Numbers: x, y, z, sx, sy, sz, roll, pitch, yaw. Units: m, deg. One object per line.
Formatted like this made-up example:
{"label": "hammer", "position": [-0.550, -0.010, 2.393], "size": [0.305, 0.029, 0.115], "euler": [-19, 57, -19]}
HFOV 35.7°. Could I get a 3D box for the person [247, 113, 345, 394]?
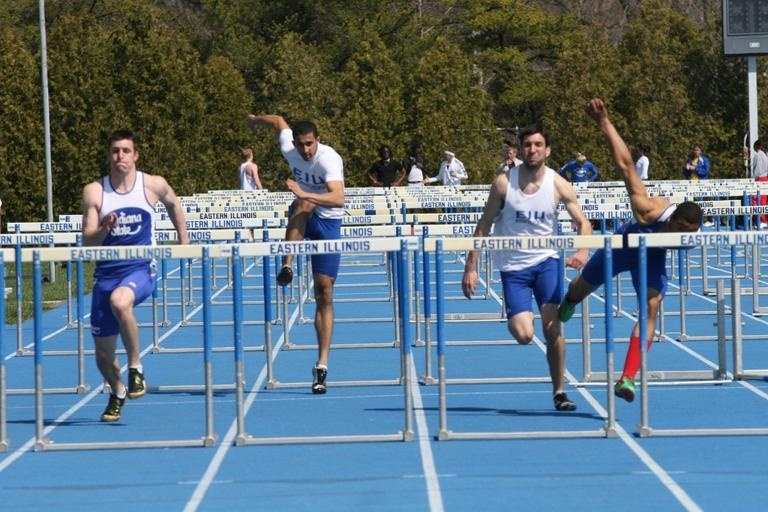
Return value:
{"label": "person", "position": [-1.085, -0.117, 15.161], "size": [0.996, 3.035, 1.278], "euler": [0, 1, 25]}
